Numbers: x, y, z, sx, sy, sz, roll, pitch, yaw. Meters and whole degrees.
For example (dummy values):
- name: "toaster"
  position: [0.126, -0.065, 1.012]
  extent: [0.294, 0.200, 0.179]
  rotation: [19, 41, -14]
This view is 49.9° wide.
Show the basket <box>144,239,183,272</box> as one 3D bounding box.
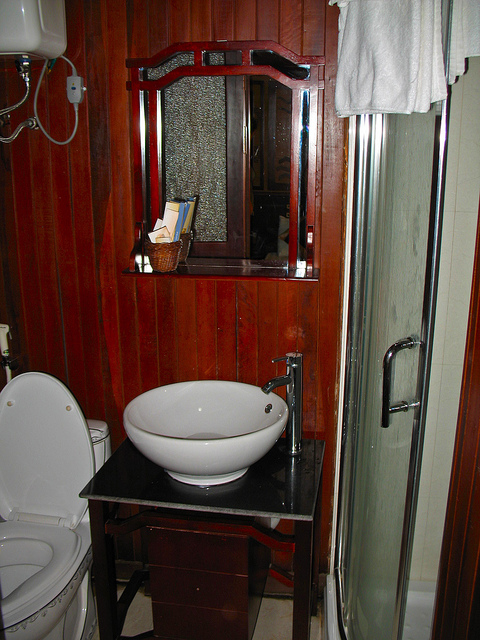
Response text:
- name: "basket"
  position: [-0.224, -0.185, 1.492]
  extent: [0.070, 0.087, 0.090]
  rotation: [-1, 12, -7]

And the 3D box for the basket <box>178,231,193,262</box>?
- name: "basket"
  position: [-0.160, -0.226, 1.579]
  extent: [0.050, 0.091, 0.067]
  rotation: [0, 23, -6]

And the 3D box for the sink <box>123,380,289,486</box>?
- name: "sink"
  position: [-0.091, 0.305, 1.347]
  extent: [0.423, 0.195, 0.414]
  rotation: [-1, 15, 7]

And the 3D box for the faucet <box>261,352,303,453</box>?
- name: "faucet"
  position: [0.117, 0.245, 1.378]
  extent: [0.076, 0.301, 0.208]
  rotation: [2, 13, 17]
